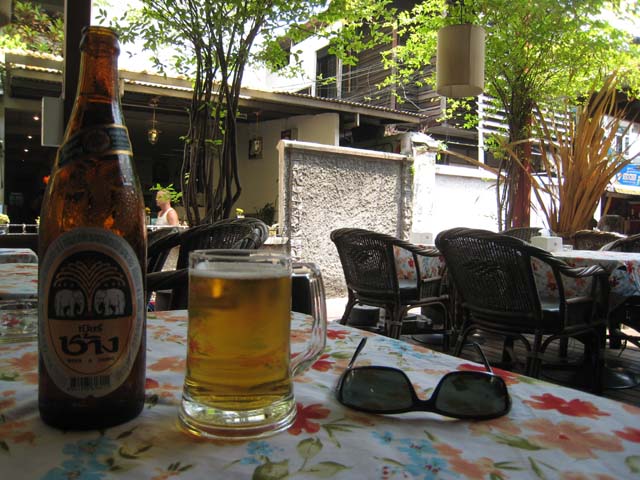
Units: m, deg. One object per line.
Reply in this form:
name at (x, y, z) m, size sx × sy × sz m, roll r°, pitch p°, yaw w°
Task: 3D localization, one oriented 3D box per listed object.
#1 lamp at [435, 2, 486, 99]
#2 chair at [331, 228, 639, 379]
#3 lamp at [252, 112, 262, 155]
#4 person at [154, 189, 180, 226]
lamp at (1.271, -1.630, 4.438) m, size 0.412 × 0.581 × 0.635 m, roll 3°, pitch 4°, yaw 17°
chair at (1.025, 0.365, 2.910) m, size 0.451 × 0.447 × 1.093 m, roll -6°, pitch 7°, yaw -32°
lamp at (-1.671, -2.815, 13.455) m, size 0.208 × 1.112 × 0.552 m, roll 1°, pitch 4°, yaw -9°
person at (-2.741, -0.594, 8.860) m, size 0.453 × 0.588 × 0.915 m, roll -1°, pitch 12°, yaw -25°
